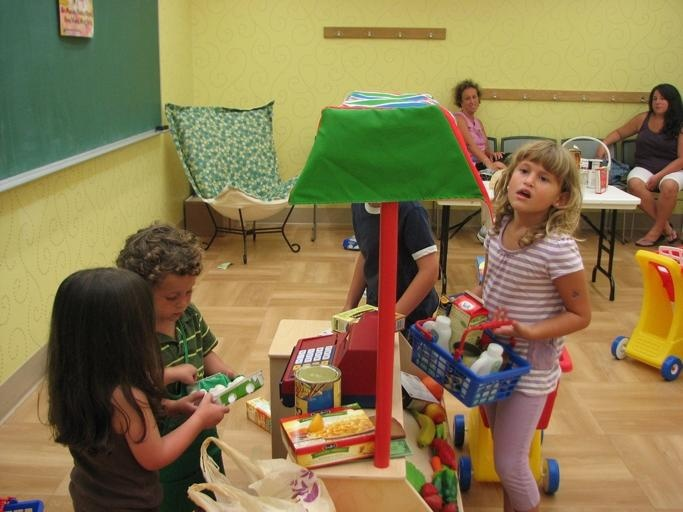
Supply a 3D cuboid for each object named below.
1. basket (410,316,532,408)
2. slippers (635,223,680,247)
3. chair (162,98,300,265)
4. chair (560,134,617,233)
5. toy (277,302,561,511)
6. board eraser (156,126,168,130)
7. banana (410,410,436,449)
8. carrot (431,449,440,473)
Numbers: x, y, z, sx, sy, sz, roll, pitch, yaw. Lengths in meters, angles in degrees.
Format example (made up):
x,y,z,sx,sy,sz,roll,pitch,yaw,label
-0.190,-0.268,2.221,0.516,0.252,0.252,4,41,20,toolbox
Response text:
x,y,z,sx,sy,sz,roll,pitch,yaw,label
0.434,0.397,2.065,0.268,0.284,0.362,-5,17,-26,basket
3.121,-0.216,5.915,0.534,0.248,0.203,-8,12,-19,slippers
-0.927,-0.751,5.640,1.226,1.437,0.973,-13,17,-42,chair
1.853,-0.429,4.432,0.378,0.717,0.397,5,16,6,chair
0.104,0.612,2.275,0.748,0.576,0.823,1,8,-1,toy
-1.633,-1.162,5.363,0.025,0.032,0.097,-15,14,8,board eraser
0.370,0.761,2.641,0.093,0.067,0.217,-6,24,0,banana
0.397,0.872,2.495,0.028,0.021,0.057,-32,57,12,carrot
